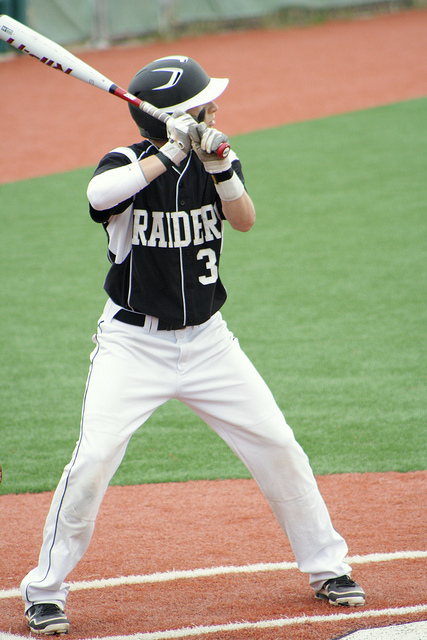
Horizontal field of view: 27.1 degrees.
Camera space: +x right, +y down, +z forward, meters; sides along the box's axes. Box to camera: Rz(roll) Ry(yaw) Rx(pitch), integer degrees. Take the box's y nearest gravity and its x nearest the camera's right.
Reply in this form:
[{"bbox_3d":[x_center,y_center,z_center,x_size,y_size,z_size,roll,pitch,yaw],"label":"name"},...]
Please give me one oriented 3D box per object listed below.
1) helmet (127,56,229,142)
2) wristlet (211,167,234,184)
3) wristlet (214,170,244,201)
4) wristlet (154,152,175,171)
[{"bbox_3d":[-0.117,-0.711,2.836,0.319,0.273,0.234,-2,12,-1],"label":"helmet"},{"bbox_3d":[0.024,-0.436,2.686,0.056,0.033,0.051,-4,20,14],"label":"wristlet"},{"bbox_3d":[0.058,-0.400,2.728,0.088,0.087,0.084,-6,46,11],"label":"wristlet"},{"bbox_3d":[-0.146,-0.478,2.652,0.041,0.051,0.051,-47,15,-16],"label":"wristlet"}]
